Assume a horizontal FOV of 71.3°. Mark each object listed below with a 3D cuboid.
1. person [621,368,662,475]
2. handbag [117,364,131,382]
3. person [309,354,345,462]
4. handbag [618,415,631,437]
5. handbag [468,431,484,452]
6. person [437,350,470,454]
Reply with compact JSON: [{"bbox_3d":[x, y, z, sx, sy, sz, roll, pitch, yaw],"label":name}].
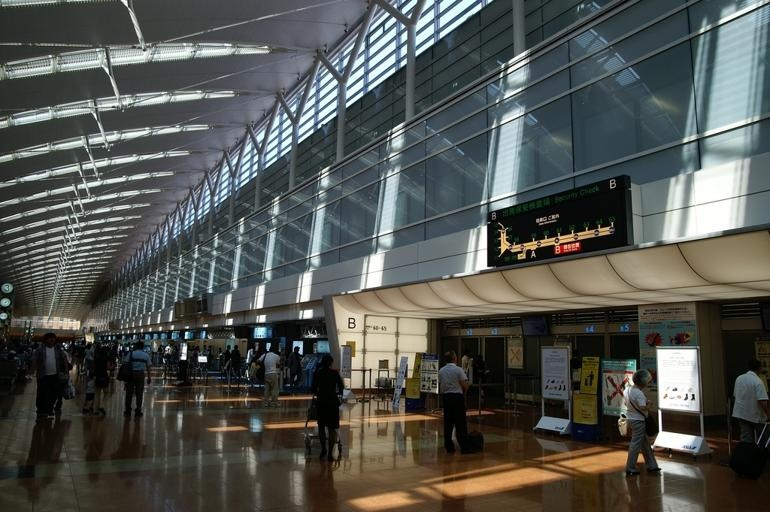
[{"bbox_3d":[5.632,3.666,11.918,0.675,2.251,1.176,-4,-13,24],"label":"person"},{"bbox_3d":[-8.186,3.592,16.747,0.262,0.537,0.541,-1,-13,12],"label":"handbag"},{"bbox_3d":[-1.436,3.575,12.876,0.720,2.389,1.420,3,-12,-7],"label":"person"},{"bbox_3d":[5.169,3.634,11.623,0.198,0.388,0.348,-4,-13,22],"label":"handbag"},{"bbox_3d":[2.210,4.674,13.565,0.482,0.498,0.380,-3,-12,4],"label":"handbag"},{"bbox_3d":[1.677,3.595,13.354,0.703,2.454,0.724,0,-12,8],"label":"person"}]
